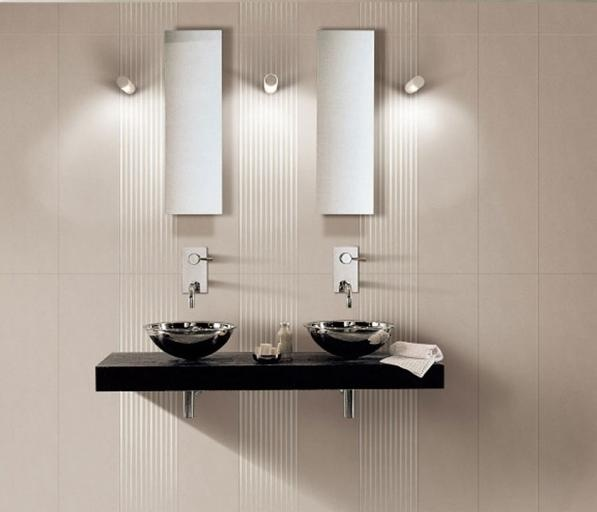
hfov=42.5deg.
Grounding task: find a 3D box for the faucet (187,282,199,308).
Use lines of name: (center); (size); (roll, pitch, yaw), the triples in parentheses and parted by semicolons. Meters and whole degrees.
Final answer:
faucet: (-0.505, 0.185, 3.625); (0.047, 0.026, 0.118); (1, -90, -3)
